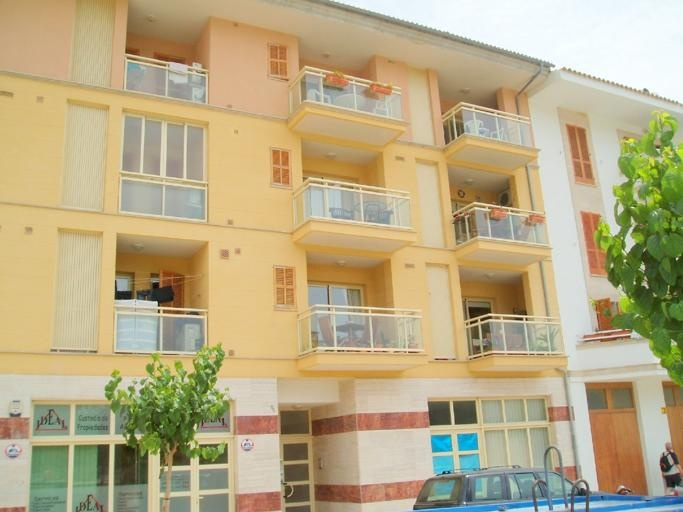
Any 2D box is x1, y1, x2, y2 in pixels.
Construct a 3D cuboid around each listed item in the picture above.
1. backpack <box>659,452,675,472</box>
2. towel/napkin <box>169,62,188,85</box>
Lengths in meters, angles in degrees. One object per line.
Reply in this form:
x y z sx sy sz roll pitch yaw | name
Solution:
11.223 7.084 21.487 0.500 0.654 0.226 -8 -18 18 | backpack
-5.030 -5.589 19.230 0.692 0.606 0.161 -3 9 -23 | towel/napkin
